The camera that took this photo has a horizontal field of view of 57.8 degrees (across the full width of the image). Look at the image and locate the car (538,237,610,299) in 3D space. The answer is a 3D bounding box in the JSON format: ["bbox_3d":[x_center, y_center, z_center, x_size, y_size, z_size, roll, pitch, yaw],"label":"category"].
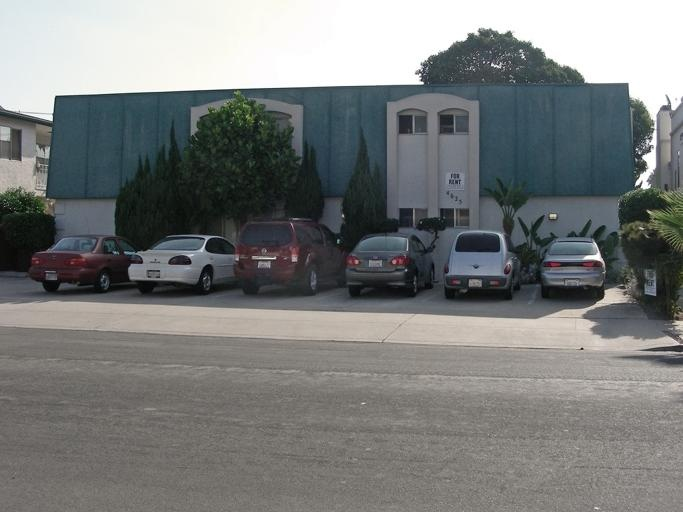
[{"bbox_3d":[6.630,0.280,17.661,1.078,1.158,2.531,0,7,13],"label":"car"}]

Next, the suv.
[{"bbox_3d":[-1.429,-0.006,19.232,1.645,2.302,3.548,3,4,38],"label":"suv"}]

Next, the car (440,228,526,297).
[{"bbox_3d":[4.396,0.215,19.107,1.837,1.947,3.741,0,4,14],"label":"car"}]

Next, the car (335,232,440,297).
[{"bbox_3d":[1.605,0.235,19.194,1.711,1.905,3.378,2,3,29],"label":"car"}]
